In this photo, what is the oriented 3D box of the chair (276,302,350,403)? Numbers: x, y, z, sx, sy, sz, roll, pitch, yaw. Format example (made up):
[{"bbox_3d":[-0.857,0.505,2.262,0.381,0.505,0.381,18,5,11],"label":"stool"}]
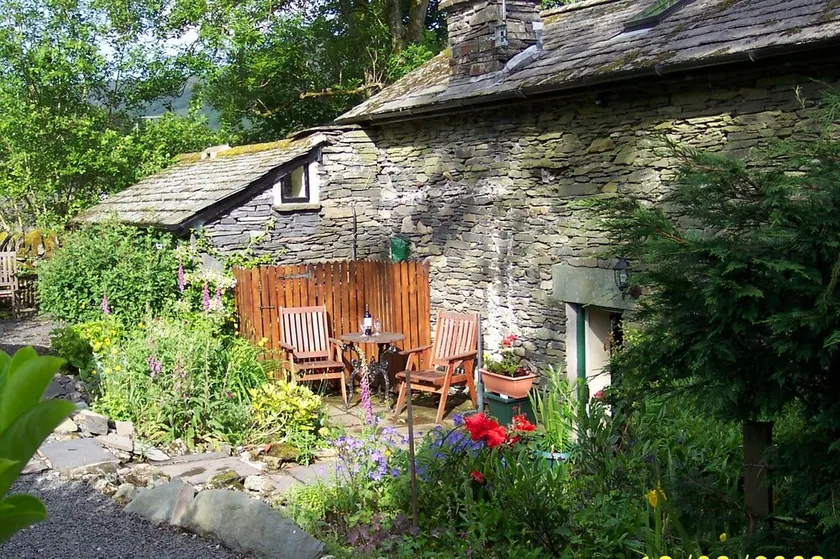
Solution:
[{"bbox_3d":[-1.658,1.168,9.716,0.925,1.371,1.074,-2,4,-35],"label":"chair"}]

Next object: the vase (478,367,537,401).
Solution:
[{"bbox_3d":[1.071,1.333,8.221,0.323,0.218,0.561,-1,2,-35],"label":"vase"}]

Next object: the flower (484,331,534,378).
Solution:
[{"bbox_3d":[1.127,1.021,8.656,0.654,0.631,0.922,-3,10,10],"label":"flower"}]
